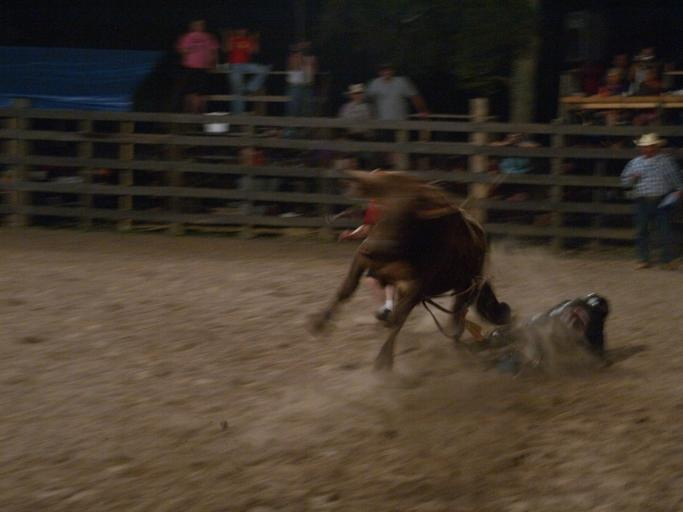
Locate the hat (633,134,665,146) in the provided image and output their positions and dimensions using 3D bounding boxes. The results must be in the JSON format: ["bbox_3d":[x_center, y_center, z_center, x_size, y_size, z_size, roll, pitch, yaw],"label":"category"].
[{"bbox_3d":[3.809,-1.426,7.902,0.301,0.185,0.330,5,8,21],"label":"hat"}]

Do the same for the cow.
[{"bbox_3d":[0.621,0.135,5.096,0.473,1.577,1.386,12,13,40],"label":"cow"}]
